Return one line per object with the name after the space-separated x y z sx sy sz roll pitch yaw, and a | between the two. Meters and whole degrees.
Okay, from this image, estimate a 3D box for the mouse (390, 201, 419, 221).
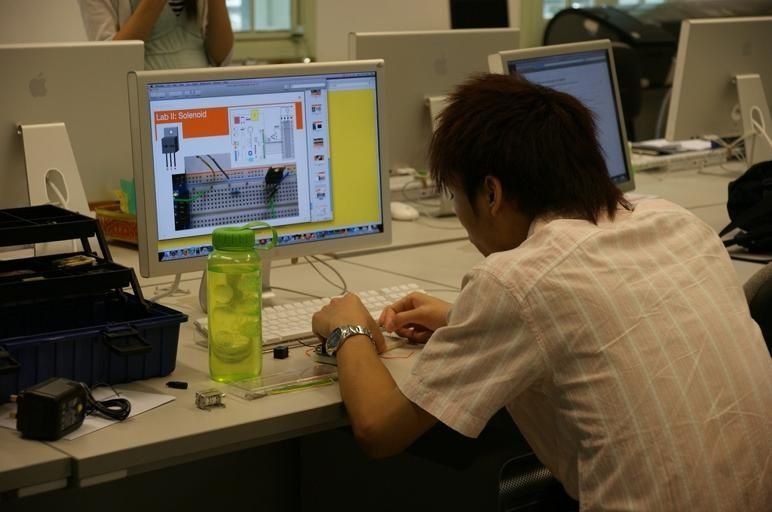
0.064 -0.191 2.601 0.062 0.034 0.114 -9 22 -30 | mouse

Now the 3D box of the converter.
-0.640 0.291 1.224 0.110 0.094 0.082 -1 16 12 | converter

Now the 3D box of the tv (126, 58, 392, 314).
-0.323 -0.182 1.667 0.631 0.574 0.218 -11 17 -30 | tv
